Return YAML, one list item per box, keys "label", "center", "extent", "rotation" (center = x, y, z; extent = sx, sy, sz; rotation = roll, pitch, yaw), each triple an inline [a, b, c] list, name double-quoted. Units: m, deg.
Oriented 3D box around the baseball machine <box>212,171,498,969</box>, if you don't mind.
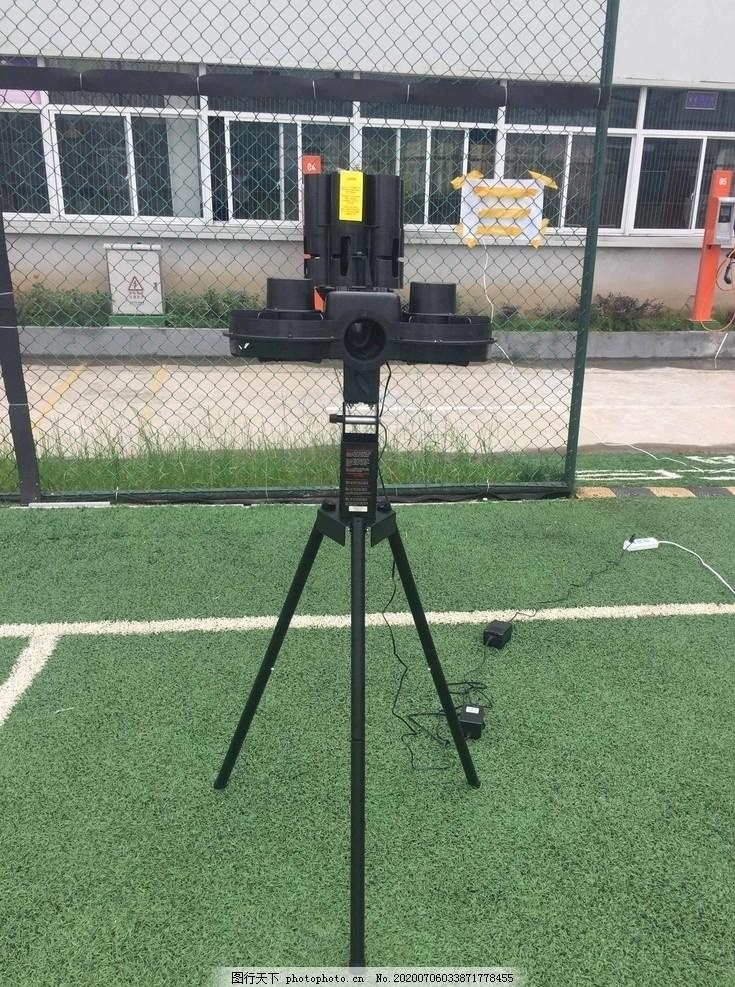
- label: "baseball machine"
  center: [-0.060, 0.090, 1.797]
  extent: [0.681, 1.531, 0.878]
  rotation: [3, 22, 9]
